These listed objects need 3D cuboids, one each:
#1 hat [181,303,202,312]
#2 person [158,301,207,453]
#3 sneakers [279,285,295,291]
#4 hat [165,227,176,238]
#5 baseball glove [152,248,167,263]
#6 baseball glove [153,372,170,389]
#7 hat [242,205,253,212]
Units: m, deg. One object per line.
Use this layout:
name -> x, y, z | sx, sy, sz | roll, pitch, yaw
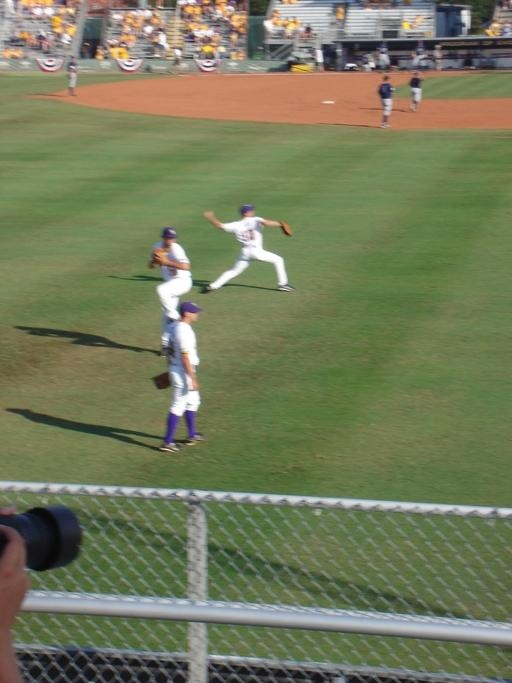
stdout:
hat -> -0.672, -0.339, 13.889 | 0.213, 0.132, 0.238 | 1, 12, -2
person -> -0.762, 0.344, 14.078 | 0.421, 1.553, 1.127 | 2, 13, -3
sneakers -> 0.446, -0.780, 19.857 | 0.224, 0.066, 0.093 | 0, -2, -22
hat -> -1.052, -1.313, 16.253 | 0.129, 0.078, 0.174 | -9, 12, -39
baseball glove -> -1.138, -1.029, 16.173 | 0.165, 0.050, 0.161 | -30, 62, -32
baseball glove -> -0.971, 0.413, 13.909 | 0.165, 0.214, 0.342 | 1, 12, -5
hat -> -0.122, -1.811, 18.571 | 0.151, 0.104, 0.189 | 0, 12, -8
